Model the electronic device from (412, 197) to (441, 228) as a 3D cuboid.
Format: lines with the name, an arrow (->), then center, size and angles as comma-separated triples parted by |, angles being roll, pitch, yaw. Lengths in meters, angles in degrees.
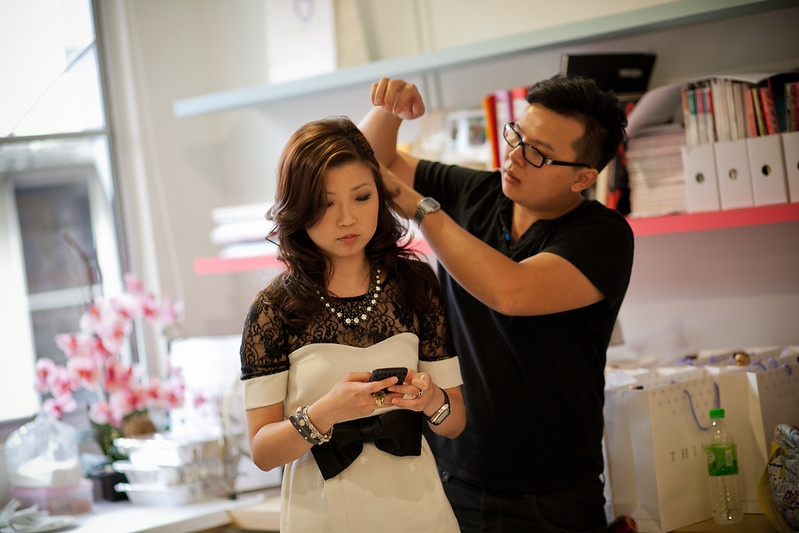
electronic device -> 0.068, -0.150, 1.778 | 0.057, 0.081, 0.086 | 40, 31, 24

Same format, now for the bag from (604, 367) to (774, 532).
bag -> 0.911, 0.592, 2.043 | 0.507, 0.460, 0.208 | 0, -6, -24

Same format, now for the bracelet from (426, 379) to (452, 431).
bracelet -> 0.103, 0.350, 1.622 | 0.035, 0.084, 0.064 | 33, -45, -31

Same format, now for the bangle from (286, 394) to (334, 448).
bangle -> -0.215, 0.368, 1.559 | 0.041, 0.096, 0.085 | -43, 8, 23
